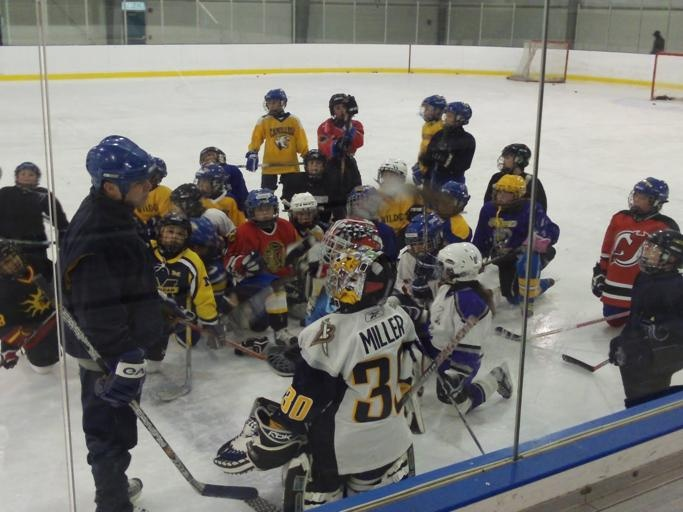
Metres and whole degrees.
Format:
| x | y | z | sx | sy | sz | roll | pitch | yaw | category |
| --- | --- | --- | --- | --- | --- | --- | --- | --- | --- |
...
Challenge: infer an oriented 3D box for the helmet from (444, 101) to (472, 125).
| x | y | z | sx | sy | sz | roll | pitch | yaw | category |
| --- | --- | --- | --- | --- | --- | --- | --- | --- | --- |
| 0.498 | -0.597 | 2.967 | 0.080 | 0.095 | 0.190 | 11 | 18 | 38 | helmet |

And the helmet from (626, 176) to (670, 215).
| x | y | z | sx | sy | sz | roll | pitch | yaw | category |
| --- | --- | --- | --- | --- | --- | --- | --- | --- | --- |
| 1.497 | -0.295 | 3.480 | 0.194 | 0.169 | 0.149 | -5 | 14 | -34 | helmet |

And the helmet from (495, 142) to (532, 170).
| x | y | z | sx | sy | sz | roll | pitch | yaw | category |
| --- | --- | --- | --- | --- | --- | --- | --- | --- | --- |
| 0.714 | -0.418 | 2.949 | 0.140 | 0.122 | 0.104 | 13 | 5 | 4 | helmet |

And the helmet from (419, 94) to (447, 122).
| x | y | z | sx | sy | sz | roll | pitch | yaw | category |
| --- | --- | --- | --- | --- | --- | --- | --- | --- | --- |
| 0.405 | -0.662 | 3.208 | 0.126 | 0.116 | 0.094 | 7 | 45 | 7 | helmet |

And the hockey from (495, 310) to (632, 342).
| x | y | z | sx | sy | sz | roll | pitch | yaw | category |
| --- | --- | --- | --- | --- | --- | --- | --- | --- | --- |
| 0.890 | 0.290 | 2.924 | 0.645 | 0.082 | 0.054 | -9 | 51 | -30 | hockey |

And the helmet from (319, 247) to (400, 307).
| x | y | z | sx | sy | sz | roll | pitch | yaw | category |
| --- | --- | --- | --- | --- | --- | --- | --- | --- | --- |
| 0.069 | 0.071 | 2.359 | 0.203 | 0.220 | 0.246 | -5 | 8 | -38 | helmet |

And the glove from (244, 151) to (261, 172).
| x | y | z | sx | sy | sz | roll | pitch | yaw | category |
| --- | --- | --- | --- | --- | --- | --- | --- | --- | --- |
| -0.420 | -0.445 | 3.324 | 0.032 | 0.075 | 0.079 | -4 | 9 | -38 | glove |

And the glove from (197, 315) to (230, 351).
| x | y | z | sx | sy | sz | roll | pitch | yaw | category |
| --- | --- | --- | --- | --- | --- | --- | --- | --- | --- |
| -0.441 | 0.264 | 2.447 | 0.096 | 0.089 | 0.039 | 6 | 12 | 14 | glove |

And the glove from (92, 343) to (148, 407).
| x | y | z | sx | sy | sz | roll | pitch | yaw | category |
| --- | --- | --- | --- | --- | --- | --- | --- | --- | --- |
| -0.670 | 0.372 | 2.258 | 0.078 | 0.142 | 0.184 | 5 | 54 | 51 | glove |

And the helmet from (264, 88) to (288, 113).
| x | y | z | sx | sy | sz | roll | pitch | yaw | category |
| --- | --- | --- | --- | --- | --- | --- | --- | --- | --- |
| -0.290 | -0.705 | 3.211 | 0.100 | 0.099 | 0.111 | -1 | 9 | 8 | helmet |

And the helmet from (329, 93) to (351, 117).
| x | y | z | sx | sy | sz | roll | pitch | yaw | category |
| --- | --- | --- | --- | --- | --- | --- | --- | --- | --- |
| -0.008 | -0.702 | 3.269 | 0.090 | 0.096 | 0.099 | 0 | -23 | -3 | helmet |

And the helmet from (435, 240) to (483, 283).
| x | y | z | sx | sy | sz | roll | pitch | yaw | category |
| --- | --- | --- | --- | --- | --- | --- | --- | --- | --- |
| 0.477 | 0.021 | 2.903 | 0.209 | 0.159 | 0.148 | -3 | 16 | 7 | helmet |

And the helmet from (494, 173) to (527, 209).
| x | y | z | sx | sy | sz | roll | pitch | yaw | category |
| --- | --- | --- | --- | --- | --- | --- | --- | --- | --- |
| 0.761 | -0.293 | 3.238 | 0.135 | 0.149 | 0.157 | 7 | 7 | 43 | helmet |

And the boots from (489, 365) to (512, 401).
| x | y | z | sx | sy | sz | roll | pitch | yaw | category |
| --- | --- | --- | --- | --- | --- | --- | --- | --- | --- |
| 0.611 | 0.481 | 2.730 | 0.050 | 0.134 | 0.061 | -23 | -12 | 37 | boots |

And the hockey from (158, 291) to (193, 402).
| x | y | z | sx | sy | sz | roll | pitch | yaw | category |
| --- | --- | --- | --- | --- | --- | --- | --- | --- | --- |
| -0.567 | 0.242 | 2.423 | 0.123 | 0.359 | 0.094 | 3 | 1 | 11 | hockey |

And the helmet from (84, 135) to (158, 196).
| x | y | z | sx | sy | sz | roll | pitch | yaw | category |
| --- | --- | --- | --- | --- | --- | --- | --- | --- | --- |
| -0.711 | -0.273 | 2.252 | 0.226 | 0.204 | 0.170 | 6 | 34 | 0 | helmet |
